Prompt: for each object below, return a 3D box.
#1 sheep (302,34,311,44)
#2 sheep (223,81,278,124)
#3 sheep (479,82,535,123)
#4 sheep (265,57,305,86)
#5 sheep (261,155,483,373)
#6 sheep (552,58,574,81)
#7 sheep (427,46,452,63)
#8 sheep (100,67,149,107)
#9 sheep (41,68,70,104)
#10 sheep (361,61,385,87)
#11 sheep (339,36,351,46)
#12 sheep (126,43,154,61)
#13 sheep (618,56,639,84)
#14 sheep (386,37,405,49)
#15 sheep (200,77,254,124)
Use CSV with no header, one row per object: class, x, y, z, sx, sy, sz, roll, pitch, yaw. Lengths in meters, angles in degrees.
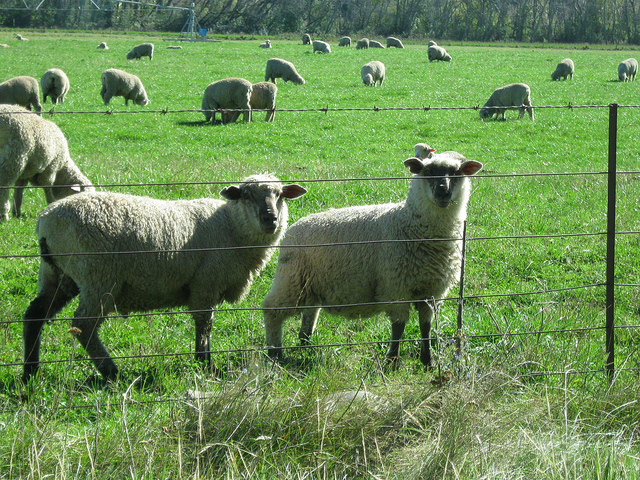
sheep,-0.922,-13.943,64.663,0.591,0.979,0.850,-1,1,-9
sheep,-1.897,-4.162,28.799,0.451,1.005,1.532,-2,5,-45
sheep,5.752,-4.257,29.508,1.786,1.229,0.513,-5,2,44
sheep,-1.405,-6.392,36.226,1.699,1.024,0.561,20,18,19
sheep,0.809,0.400,14.278,3.324,3.273,1.397,-2,0,33
sheep,9.694,-6.875,37.832,0.967,0.788,0.588,-6,14,-38
sheep,6.167,-9.756,49.162,1.039,0.771,1.722,7,12,21
sheep,-6.192,-4.711,30.042,0.581,1.251,1.992,8,-3,39
sheep,-8.123,-4.714,28.694,0.698,0.985,1.222,3,11,4
sheep,1.942,-6.238,35.157,0.653,0.854,1.943,5,12,14
sheep,1.687,-14.028,66.208,0.845,0.673,0.464,3,11,14
sheep,-8.620,-9.023,44.827,1.234,0.751,1.622,0,12,-13
sheep,12.489,-6.947,38.313,0.714,0.875,3.278,6,12,17
sheep,5.062,-13.718,65.206,0.994,0.625,2.317,3,12,0
sheep,-2.926,-4.170,27.952,1.769,1.496,0.860,-4,22,10
